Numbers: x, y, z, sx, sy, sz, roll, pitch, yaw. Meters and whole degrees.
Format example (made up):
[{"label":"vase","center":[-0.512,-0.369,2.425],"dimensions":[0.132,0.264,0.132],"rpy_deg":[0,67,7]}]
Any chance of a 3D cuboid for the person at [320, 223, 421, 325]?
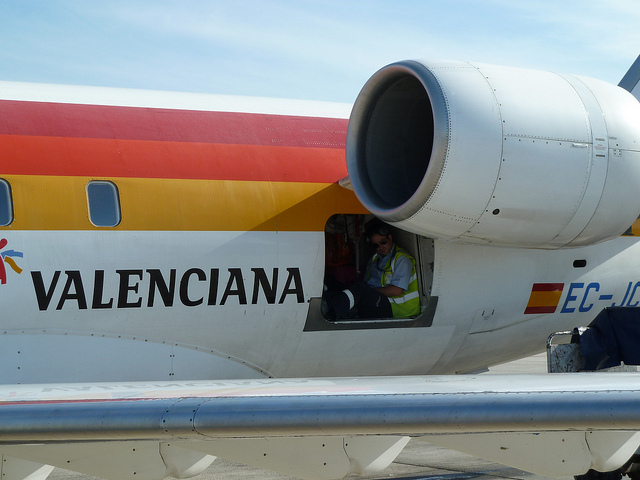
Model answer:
[{"label":"person","center":[0.455,0.292,10.187],"dimensions":[1.356,1.009,0.760],"rpy_deg":[1,8,-39]}]
